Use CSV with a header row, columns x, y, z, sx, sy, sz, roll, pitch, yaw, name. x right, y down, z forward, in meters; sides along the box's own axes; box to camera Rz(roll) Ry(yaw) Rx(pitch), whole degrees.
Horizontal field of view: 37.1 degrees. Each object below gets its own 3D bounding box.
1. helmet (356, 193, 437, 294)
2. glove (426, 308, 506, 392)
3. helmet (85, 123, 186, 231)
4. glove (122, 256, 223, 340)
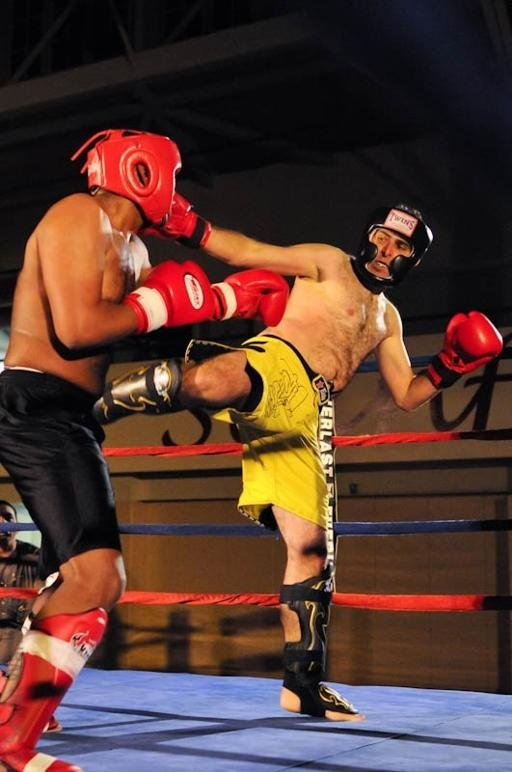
x,y,z,sx,sy,sz,roll,pitch,yaw,name
0.407,-0.452,2.450,0.235,0.270,0.293,38,23,-1,helmet
0.700,-0.112,2.614,0.126,0.215,0.301,13,-38,-43,glove
-0.251,-0.457,1.655,0.244,0.184,0.166,-4,5,-14,helmet
-0.162,-0.171,1.523,0.202,0.072,0.130,-6,46,-5,glove
